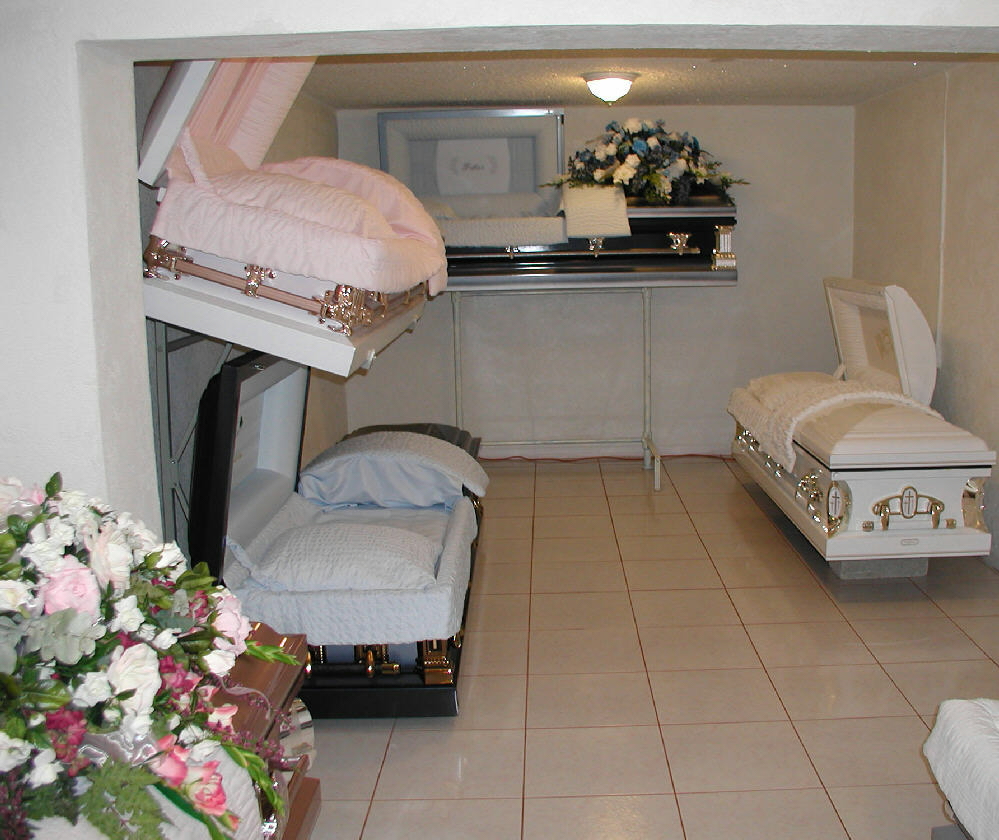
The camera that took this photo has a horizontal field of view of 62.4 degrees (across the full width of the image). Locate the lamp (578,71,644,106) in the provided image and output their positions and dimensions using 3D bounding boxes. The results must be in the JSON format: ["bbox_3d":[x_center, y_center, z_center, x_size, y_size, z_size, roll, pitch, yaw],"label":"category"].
[{"bbox_3d":[0.540,-1.675,4.151,0.241,0.089,0.351,-3,13,-5],"label":"lamp"}]

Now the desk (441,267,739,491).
[{"bbox_3d":[0.451,-0.345,5.852,2.178,1.683,1.159,0,3,2],"label":"desk"}]

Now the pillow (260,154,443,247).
[{"bbox_3d":[-0.443,-0.685,2.591,0.509,0.283,0.268,-4,13,-7],"label":"pillow"}]

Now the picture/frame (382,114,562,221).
[{"bbox_3d":[-0.115,-1.503,4.883,1.314,0.881,0.185,0,10,0],"label":"picture/frame"}]

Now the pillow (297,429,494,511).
[{"bbox_3d":[-0.455,0.222,3.649,0.804,0.280,0.349,-3,13,-5],"label":"pillow"}]
